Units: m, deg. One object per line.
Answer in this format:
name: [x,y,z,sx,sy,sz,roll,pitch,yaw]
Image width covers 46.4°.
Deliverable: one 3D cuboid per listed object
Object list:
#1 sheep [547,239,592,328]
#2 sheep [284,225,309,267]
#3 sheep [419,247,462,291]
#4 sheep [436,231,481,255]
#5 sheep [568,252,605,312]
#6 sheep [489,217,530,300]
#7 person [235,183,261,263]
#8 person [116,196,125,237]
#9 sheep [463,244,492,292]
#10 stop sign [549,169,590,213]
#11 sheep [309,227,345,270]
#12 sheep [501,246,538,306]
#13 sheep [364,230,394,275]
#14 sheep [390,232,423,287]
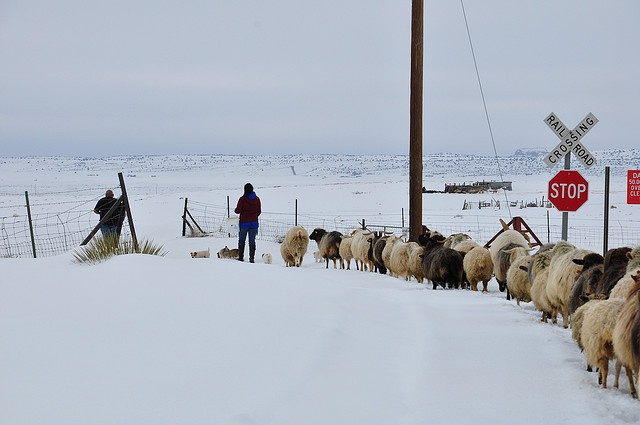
sheep: [4.387,1.343,13.040,0.761,1.412,1.754,11,-4,15]
sheep: [-0.643,0.863,18.561,0.625,1.070,1.005,-1,4,-9]
sheep: [2.517,1.162,15.582,0.838,0.860,0.642,0,4,12]
sheep: [3.107,0.669,16.790,0.406,0.425,0.767,-2,-9,-16]
sheep: [4.226,1.138,11.908,0.330,0.736,0.534,18,-19,25]
sheep: [4.104,1.053,15.902,0.732,1.490,1.873,2,8,21]
person: [-1.739,0.267,17.919,0.586,1.914,0.979,-1,4,-6]
person: [-4.512,0.063,16.900,0.186,0.869,1.760,-2,5,-15]
sheep: [3.261,1.137,15.807,0.572,1.063,1.455,-2,4,1]
stop sign: [5.200,-0.453,15.812,0.743,0.902,0.356,1,4,17]
sheep: [0.184,0.951,20.025,0.487,0.928,1.573,3,5,-26]
sheep: [3.891,1.276,14.585,0.582,1.171,1.864,4,3,6]
sheep: [1.377,1.013,18.162,0.538,1.020,1.375,0,5,2]
sheep: [1.905,1.114,16.773,0.425,0.857,1.353,-2,5,-19]
